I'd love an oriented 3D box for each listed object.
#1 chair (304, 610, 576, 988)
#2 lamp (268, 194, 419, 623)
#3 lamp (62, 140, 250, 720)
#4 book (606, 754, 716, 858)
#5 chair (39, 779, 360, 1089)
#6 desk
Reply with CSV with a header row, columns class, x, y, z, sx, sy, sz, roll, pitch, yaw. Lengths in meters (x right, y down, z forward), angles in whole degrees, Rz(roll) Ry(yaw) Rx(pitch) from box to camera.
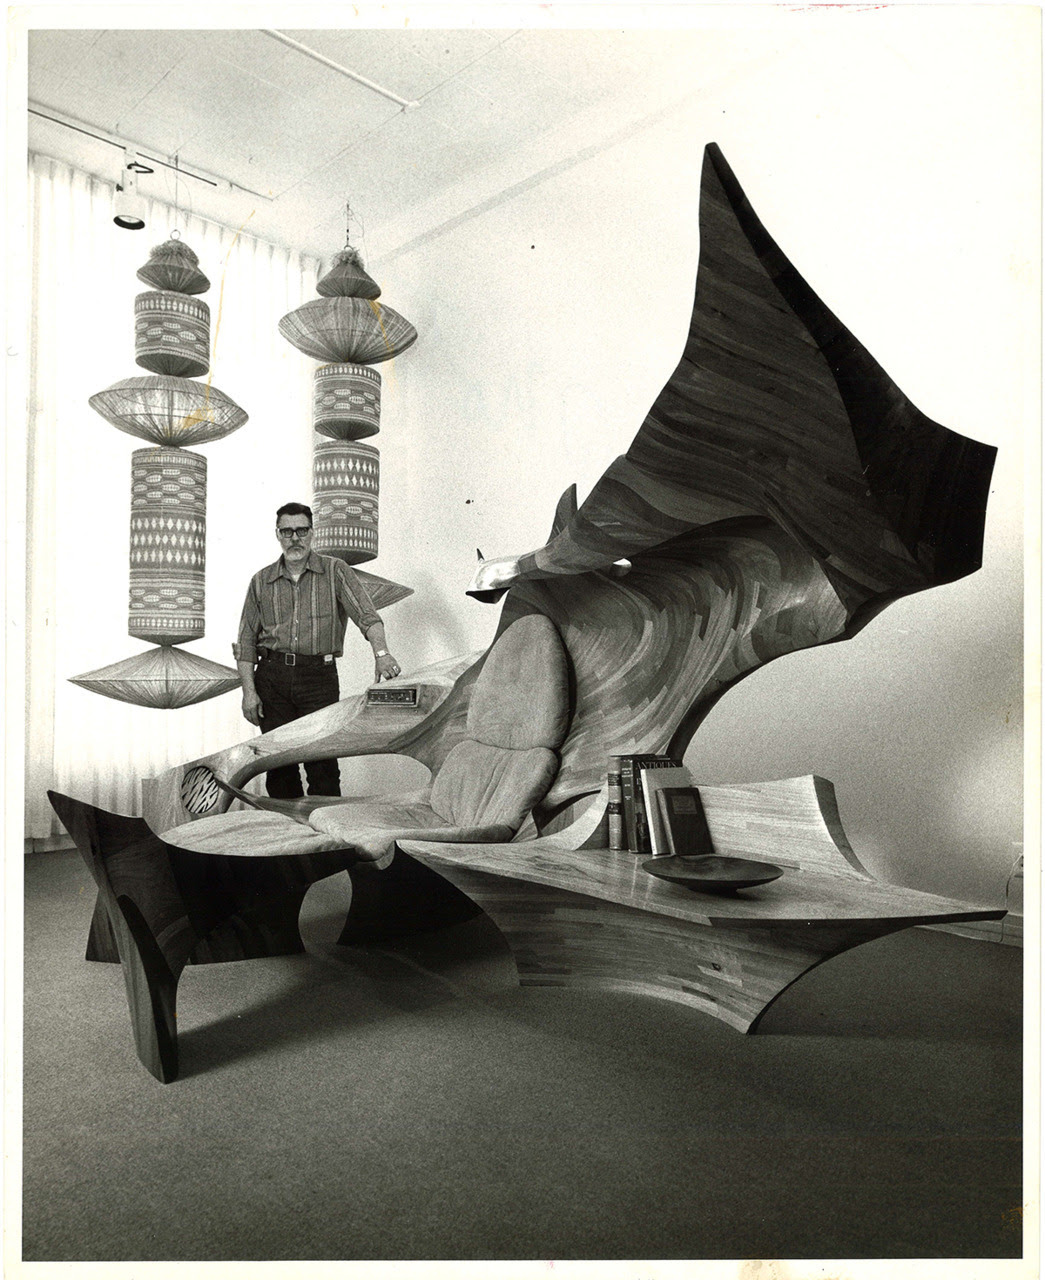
class,x,y,z,sx,sy,sz,roll,pitch,yaw
chair,-0.248,0.322,2.253,0.803,0.833,0.686,1,-2,-12
lamp,-0.542,-0.706,2.912,0.445,1.069,0.413,2,6,-6
lamp,-0.999,-0.566,2.591,0.420,1.504,0.478,0,5,-16
book,0.271,0.326,1.802,0.156,0.207,0.070,5,-42,-14
chair,-0.618,0.482,1.816,0.550,0.470,0.483,-3,0,-26
desk,0.314,0.486,1.611,0.914,0.456,0.575,5,6,41
